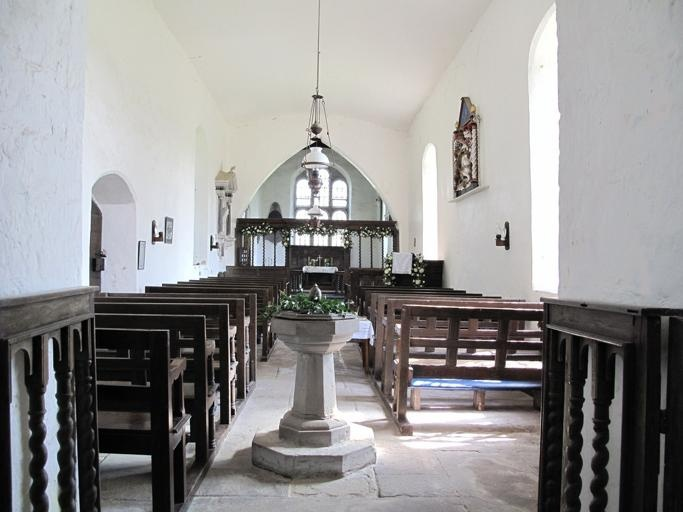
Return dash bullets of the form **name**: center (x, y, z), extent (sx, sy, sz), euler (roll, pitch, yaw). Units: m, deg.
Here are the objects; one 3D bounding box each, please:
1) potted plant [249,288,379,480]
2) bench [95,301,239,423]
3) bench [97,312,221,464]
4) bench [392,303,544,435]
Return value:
- **potted plant**: center (-0.199, 0.898, 4.404), extent (1.040, 1.411, 1.111), euler (0, 2, -1)
- **bench**: center (-1.211, 0.722, 3.739), extent (0.927, 0.683, 0.356), euler (1, 2, 9)
- **bench**: center (-1.180, 0.850, 3.492), extent (0.912, 1.005, 0.366), euler (0, 3, 5)
- **bench**: center (1.186, 0.940, 5.104), extent (1.268, 1.096, 1.579), euler (1, 2, 21)
